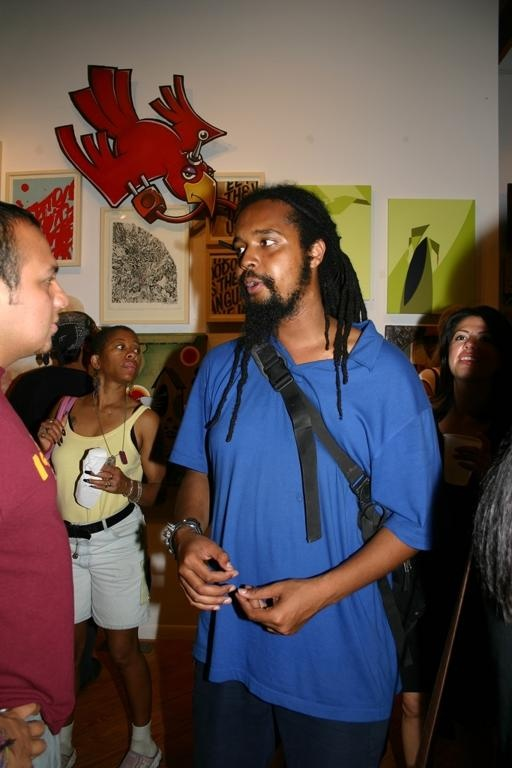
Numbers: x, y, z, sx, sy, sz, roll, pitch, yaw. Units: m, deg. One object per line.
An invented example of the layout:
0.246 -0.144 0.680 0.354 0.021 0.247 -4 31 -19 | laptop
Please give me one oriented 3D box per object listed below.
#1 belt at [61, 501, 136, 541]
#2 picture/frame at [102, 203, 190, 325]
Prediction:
-0.608 0.537 2.232 0.227 0.060 0.209 -25 8 -19 | belt
-0.617 -0.675 3.238 0.685 0.841 0.057 2 -1 -2 | picture/frame
